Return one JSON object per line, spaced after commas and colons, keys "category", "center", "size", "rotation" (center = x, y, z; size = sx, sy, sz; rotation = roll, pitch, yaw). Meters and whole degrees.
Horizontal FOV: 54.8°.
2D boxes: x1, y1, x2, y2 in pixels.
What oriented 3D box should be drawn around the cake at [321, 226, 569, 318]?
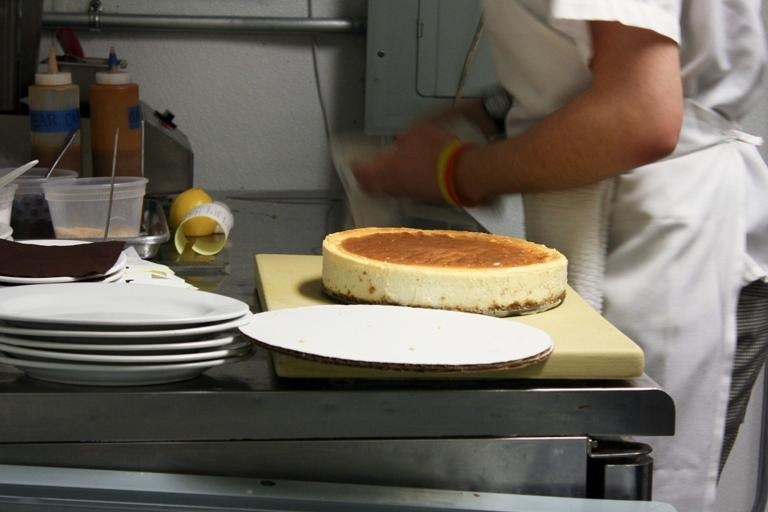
{"category": "cake", "center": [0.063, -0.031, 1.142], "size": [0.358, 0.129, 0.311], "rotation": [-7, 13, -14]}
